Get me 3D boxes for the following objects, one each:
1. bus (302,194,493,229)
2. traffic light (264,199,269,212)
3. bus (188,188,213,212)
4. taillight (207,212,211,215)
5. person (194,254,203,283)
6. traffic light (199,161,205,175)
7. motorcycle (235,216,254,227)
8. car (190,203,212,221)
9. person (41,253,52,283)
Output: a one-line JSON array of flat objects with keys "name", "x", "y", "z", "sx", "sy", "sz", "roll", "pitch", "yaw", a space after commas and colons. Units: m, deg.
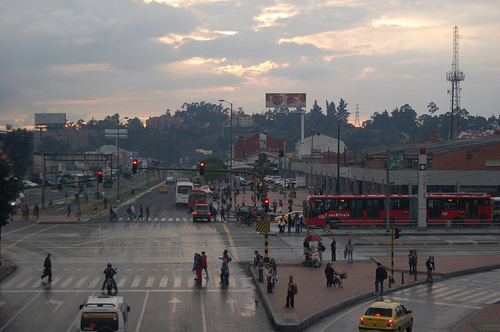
[{"name": "bus", "x": 18.722, "y": 5.635, "z": 89.659, "sx": 22.807, "sy": 4.586, "sz": 3.087, "roll": 2, "pitch": 0, "yaw": 3}, {"name": "traffic light", "x": 1.504, "y": 3.743, "z": 67.205, "sx": 0.359, "sy": 1.079, "sz": 0.658, "roll": 2, "pitch": 0, "yaw": -7}, {"name": "bus", "x": -7.883, "y": 4.835, "z": 108.634, "sx": 2.720, "sy": 2.618, "sz": 4.627, "roll": 0, "pitch": 1, "yaw": 7}, {"name": "taillight", "x": -5.547, "y": 6.233, "z": 94.122, "sx": 0.250, "sy": 0.334, "sz": 0.792, "roll": 2, "pitch": -1, "yaw": 16}, {"name": "person", "x": -4.873, "y": 9.632, "z": 66.756, "sx": 0.845, "sy": 2.679, "sz": 0.755, "roll": 2, "pitch": 0, "yaw": -13}, {"name": "traffic light", "x": -4.779, "y": 0.053, "z": 69.397, "sx": 0.535, "sy": 1.271, "sz": 1.288, "roll": 2, "pitch": 0, "yaw": -5}, {"name": "motorcycle", "x": -0.656, "y": 7.193, "z": 91.360, "sx": 1.971, "sy": 1.154, "sz": 1.179, "roll": 2, "pitch": -1, "yaw": -3}, {"name": "car", "x": -6.519, "y": 6.183, "z": 94.319, "sx": 2.263, "sy": 2.241, "sz": 1.409, "roll": 2, "pitch": 0, "yaw": -12}, {"name": "person", "x": -19.228, "y": 9.486, "z": 66.447, "sx": 0.903, "sy": 2.666, "sz": 1.240, "roll": 2, "pitch": 0, "yaw": -16}]
